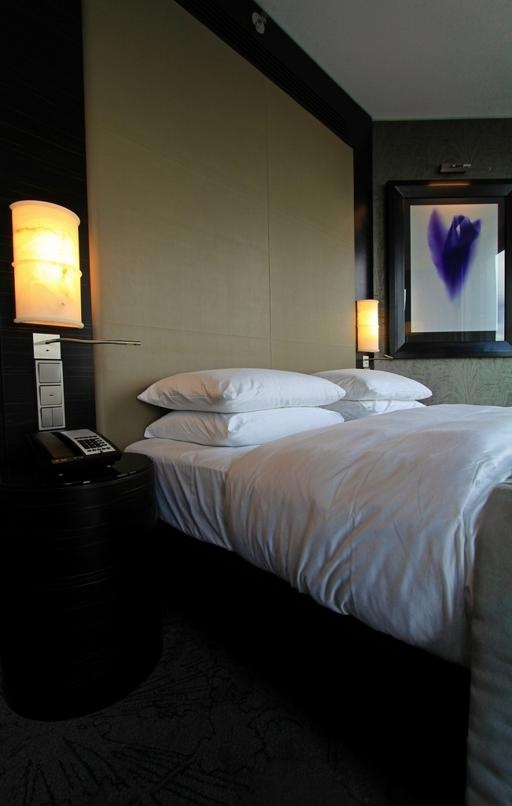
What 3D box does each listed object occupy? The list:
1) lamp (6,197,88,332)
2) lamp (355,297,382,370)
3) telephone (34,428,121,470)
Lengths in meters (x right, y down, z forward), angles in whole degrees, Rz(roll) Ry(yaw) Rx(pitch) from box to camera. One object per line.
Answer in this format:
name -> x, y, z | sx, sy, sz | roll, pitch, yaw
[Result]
lamp -> -0.562, -0.372, 1.493 | 0.174, 0.324, 0.158 | -5, 10, -24
lamp -> 0.741, -0.451, 3.658 | 0.138, 0.469, 0.349 | 3, 10, 20
telephone -> -0.463, 0.106, 1.393 | 0.112, 0.054, 0.146 | -7, 24, -44
